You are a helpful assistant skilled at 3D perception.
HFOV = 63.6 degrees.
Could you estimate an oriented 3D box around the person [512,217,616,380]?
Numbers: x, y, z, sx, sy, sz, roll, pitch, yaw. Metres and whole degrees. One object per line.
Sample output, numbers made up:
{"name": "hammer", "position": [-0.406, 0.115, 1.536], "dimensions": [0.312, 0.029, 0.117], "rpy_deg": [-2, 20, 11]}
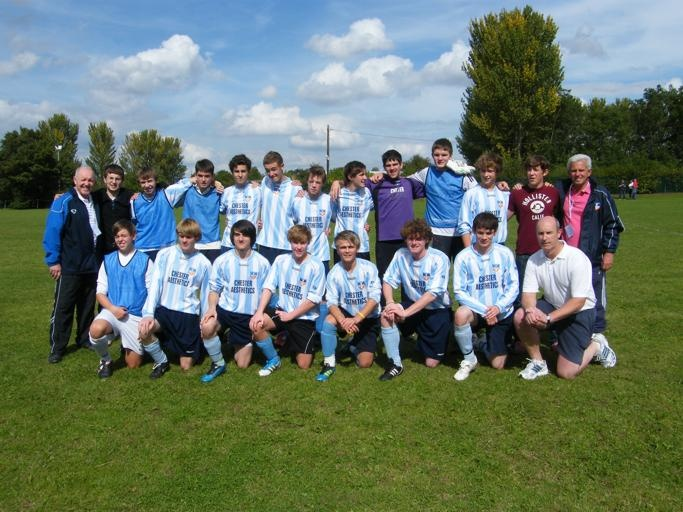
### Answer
{"name": "person", "position": [2.907, 0.522, 7.219], "dimensions": [1.211, 2.073, 0.540], "rpy_deg": [-1, 3, -2]}

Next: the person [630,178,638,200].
{"name": "person", "position": [19.811, -4.529, 37.296], "dimensions": [0.381, 1.321, 1.414], "rpy_deg": [1, 4, 24]}

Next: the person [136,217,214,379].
{"name": "person", "position": [-2.288, 0.712, 7.631], "dimensions": [0.973, 1.769, 0.498], "rpy_deg": [-2, 4, -20]}

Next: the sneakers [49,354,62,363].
{"name": "sneakers", "position": [-4.066, 1.444, 7.794], "dimensions": [0.175, 0.111, 0.169], "rpy_deg": [-3, 5, -28]}

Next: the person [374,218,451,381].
{"name": "person", "position": [1.011, 0.543, 7.536], "dimensions": [1.027, 2.085, 0.657], "rpy_deg": [-1, 4, -4]}
